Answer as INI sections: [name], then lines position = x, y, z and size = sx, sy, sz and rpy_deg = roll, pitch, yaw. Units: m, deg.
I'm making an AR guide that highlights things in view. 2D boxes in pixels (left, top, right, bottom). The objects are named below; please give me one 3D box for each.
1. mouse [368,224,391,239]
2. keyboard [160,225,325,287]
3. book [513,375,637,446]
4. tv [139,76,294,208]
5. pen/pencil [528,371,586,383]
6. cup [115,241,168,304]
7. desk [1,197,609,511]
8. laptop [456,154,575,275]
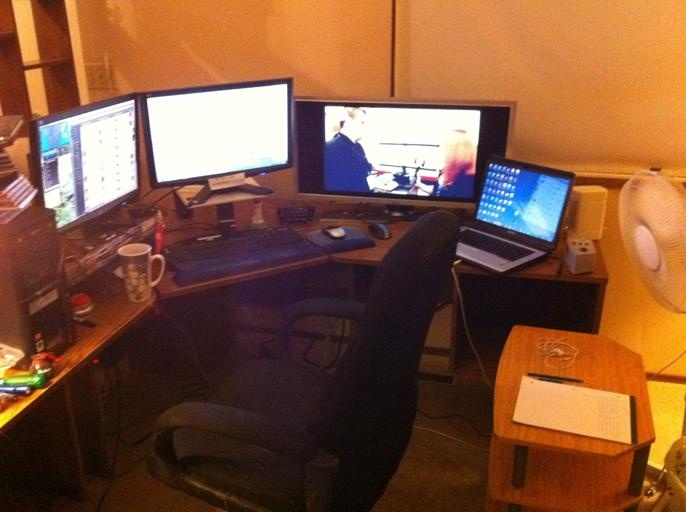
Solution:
[mouse]
position = 0.182, -0.120, 2.585
size = 0.067, 0.030, 0.093
rpy_deg = -9, 25, -22
[keyboard]
position = -0.458, -0.022, 2.384
size = 0.403, 0.040, 0.287
rpy_deg = -11, 24, -24
[book]
position = 0.745, 0.495, 1.802
size = 0.364, 0.047, 0.216
rpy_deg = 10, 25, 14
[tv]
position = -0.567, -0.534, 2.605
size = 0.727, 0.507, 0.286
rpy_deg = -17, 33, -35
[pen/pencil]
position = 0.729, 0.422, 1.921
size = 0.134, 0.014, 0.026
rpy_deg = 7, 46, 9
[cup]
position = -0.765, 0.076, 2.133
size = 0.185, 0.173, 0.115
rpy_deg = -5, 6, -16
[desk]
position = -0.160, 0.375, 2.104
size = 0.995, 0.584, 0.961
rpy_deg = 6, 31, 12
[laptop]
position = 0.872, -0.172, 2.608
size = 0.488, 0.318, 0.514
rpy_deg = 27, -6, 39
